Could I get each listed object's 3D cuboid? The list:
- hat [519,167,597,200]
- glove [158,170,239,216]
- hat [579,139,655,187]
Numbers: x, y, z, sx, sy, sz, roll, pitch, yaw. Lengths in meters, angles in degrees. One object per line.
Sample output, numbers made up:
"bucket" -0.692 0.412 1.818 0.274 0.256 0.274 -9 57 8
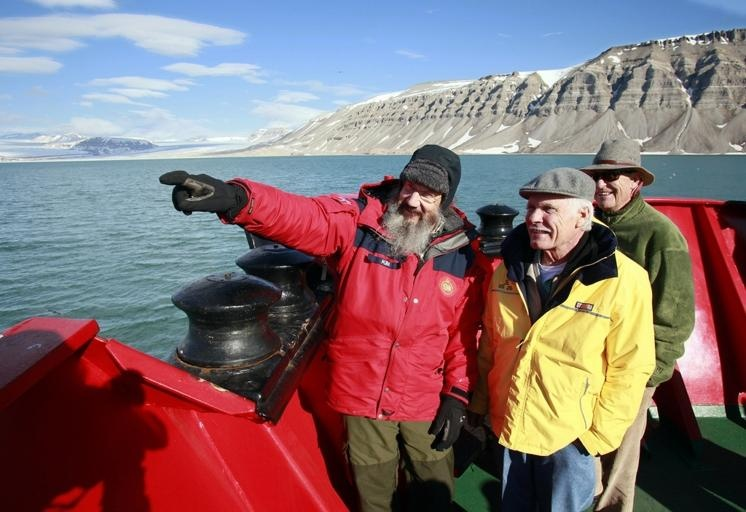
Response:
"hat" 1.280 -0.487 3.483 0.461 0.115 0.279 4 5 4
"glove" -1.010 -0.365 3.004 0.490 0.296 0.266 -5 17 -22
"hat" 2.192 -0.845 4.308 0.626 0.232 0.507 12 -10 -32
